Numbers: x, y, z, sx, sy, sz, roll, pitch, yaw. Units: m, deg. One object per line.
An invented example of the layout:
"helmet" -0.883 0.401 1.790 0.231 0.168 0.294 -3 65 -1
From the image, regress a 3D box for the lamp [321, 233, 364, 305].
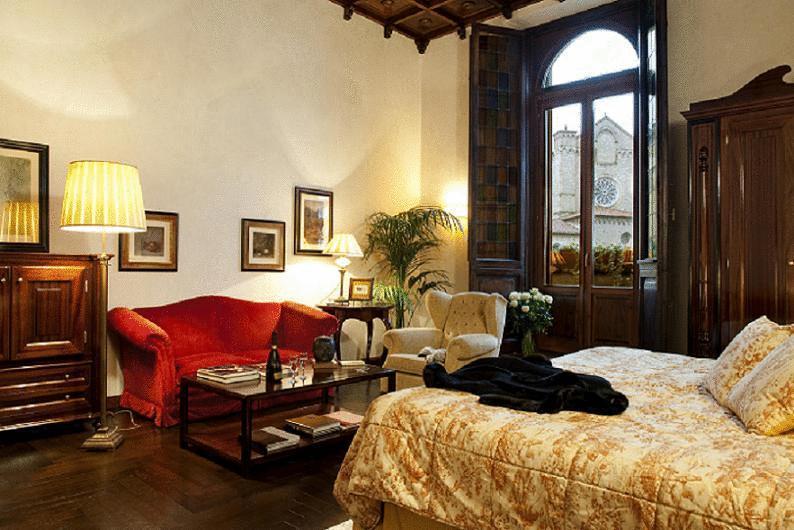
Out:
"lamp" -0.676 0.031 7.021 0.463 0.766 0.770 -2 0 -8

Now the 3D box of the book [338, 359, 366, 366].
"book" -0.450 0.955 5.546 0.268 0.067 0.263 0 -7 -5

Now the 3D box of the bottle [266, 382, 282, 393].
"bottle" -0.978 0.967 4.465 0.045 0.057 0.081 -5 -6 30

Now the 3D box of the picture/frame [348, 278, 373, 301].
"picture/frame" -0.440 0.303 6.878 0.265 0.266 0.037 1 -22 3

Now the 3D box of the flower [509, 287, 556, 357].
"flower" 1.655 0.689 7.097 0.781 1.082 0.817 -1 -1 14

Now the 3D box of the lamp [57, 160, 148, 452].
"lamp" -2.455 0.293 4.907 0.611 2.605 0.742 -2 1 -10

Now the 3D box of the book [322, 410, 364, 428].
"book" -0.453 1.327 4.913 0.293 0.073 0.297 2 0 44

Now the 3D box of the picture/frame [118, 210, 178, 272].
"picture/frame" -2.483 -0.234 5.581 0.601 0.704 0.054 2 -4 -42

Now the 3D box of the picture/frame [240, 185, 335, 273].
"picture/frame" -1.362 -0.430 6.763 1.044 0.867 0.044 2 -2 -42

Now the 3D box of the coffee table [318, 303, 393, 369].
"coffee table" -0.473 0.847 6.850 0.712 0.681 0.732 1 -4 4

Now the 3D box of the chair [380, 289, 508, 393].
"chair" 0.462 0.849 5.710 1.127 1.231 1.145 2 -4 29
